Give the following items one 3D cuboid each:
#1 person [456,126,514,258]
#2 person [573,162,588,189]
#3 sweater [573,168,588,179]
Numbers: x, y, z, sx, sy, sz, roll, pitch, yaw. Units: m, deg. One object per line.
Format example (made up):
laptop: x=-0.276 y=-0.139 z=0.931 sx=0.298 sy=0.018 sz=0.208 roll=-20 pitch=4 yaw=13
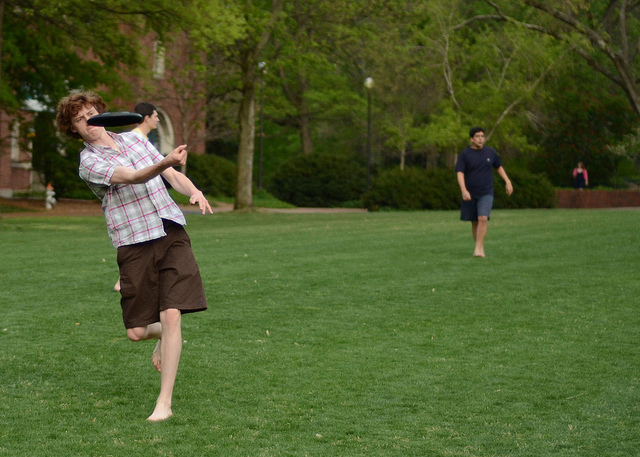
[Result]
person: x=3.045 y=-0.690 z=16.929 sx=0.899 sy=2.425 sz=1.340 roll=-1 pitch=4 yaw=11
person: x=9.793 y=-1.964 z=33.782 sx=0.396 sy=0.970 sz=1.073 roll=-1 pitch=4 yaw=13
sweater: x=9.854 y=-2.043 z=34.013 sx=0.459 sy=0.429 sz=0.269 roll=1 pitch=-19 yaw=1
